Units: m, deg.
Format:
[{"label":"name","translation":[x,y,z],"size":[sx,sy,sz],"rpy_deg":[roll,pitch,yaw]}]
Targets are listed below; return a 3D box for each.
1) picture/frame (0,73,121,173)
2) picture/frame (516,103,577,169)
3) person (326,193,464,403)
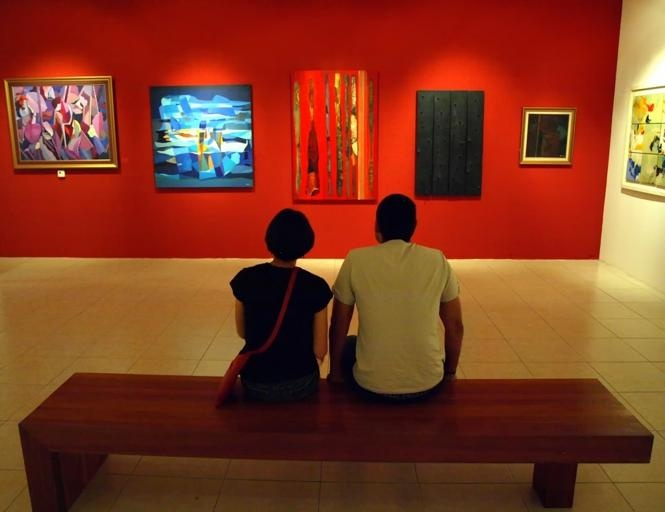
[{"label":"picture/frame","translation":[-3.693,-1.893,7.117],"size":[1.156,1.048,0.051],"rpy_deg":[1,10,2]},{"label":"picture/frame","translation":[2.912,-1.675,7.040],"size":[0.709,0.842,0.058],"rpy_deg":[0,9,-3]},{"label":"person","translation":[0.368,0.405,3.153],"size":[0.718,1.639,0.893],"rpy_deg":[-3,13,-9]}]
